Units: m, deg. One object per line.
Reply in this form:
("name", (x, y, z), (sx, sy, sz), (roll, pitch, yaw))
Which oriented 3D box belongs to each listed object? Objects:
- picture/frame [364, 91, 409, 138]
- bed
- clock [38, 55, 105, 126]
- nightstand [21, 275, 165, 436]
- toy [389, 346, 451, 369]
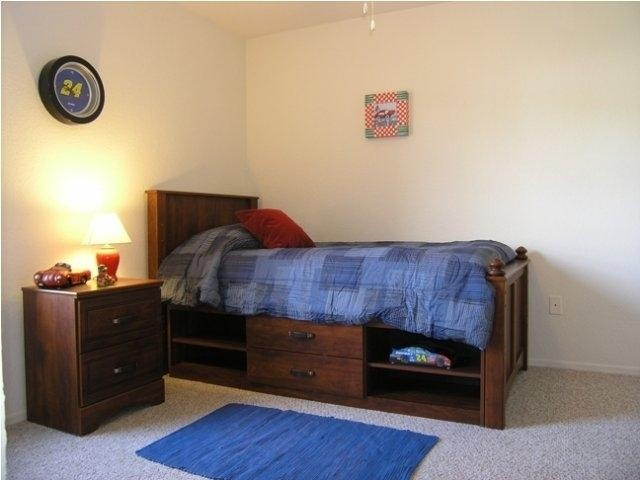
("picture/frame", (0.513, -0.985, 3.742), (0.349, 0.326, 0.041), (-8, 20, -13))
("bed", (0.114, 0.335, 3.141), (2.247, 1.242, 0.945), (0, 7, 29))
("clock", (-1.451, -0.879, 2.795), (0.081, 0.374, 0.360), (1, 5, 26))
("nightstand", (-1.267, 0.603, 2.732), (0.556, 0.735, 0.622), (1, 3, 20))
("toy", (0.542, 0.613, 2.559), (0.196, 0.057, 0.133), (-2, -2, 22))
